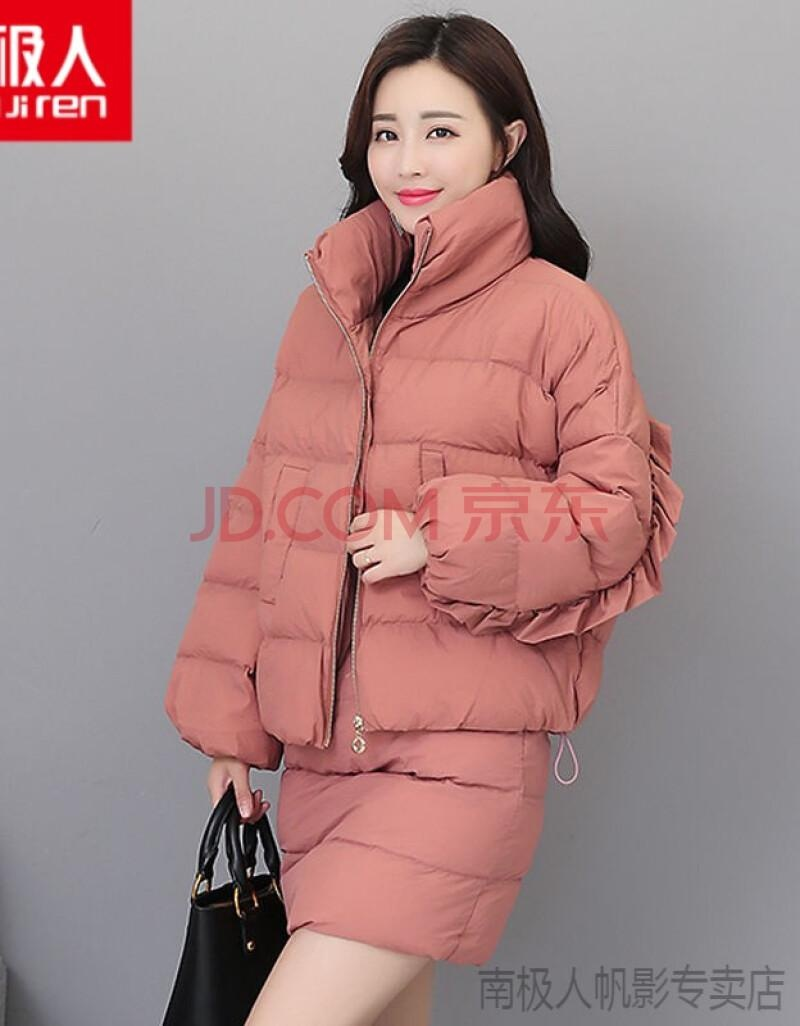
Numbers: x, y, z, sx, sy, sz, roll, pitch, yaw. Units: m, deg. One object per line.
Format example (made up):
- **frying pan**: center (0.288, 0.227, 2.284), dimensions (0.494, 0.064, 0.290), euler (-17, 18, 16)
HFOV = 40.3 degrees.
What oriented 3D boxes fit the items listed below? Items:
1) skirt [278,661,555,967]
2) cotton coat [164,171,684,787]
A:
- **skirt**: center (-0.009, 0.353, 1.325), dimensions (0.362, 0.321, 0.292), euler (2, 14, 9)
- **cotton coat**: center (0.049, -0.048, 1.505), dimensions (0.899, 0.753, 0.464), euler (-2, -1, 37)
